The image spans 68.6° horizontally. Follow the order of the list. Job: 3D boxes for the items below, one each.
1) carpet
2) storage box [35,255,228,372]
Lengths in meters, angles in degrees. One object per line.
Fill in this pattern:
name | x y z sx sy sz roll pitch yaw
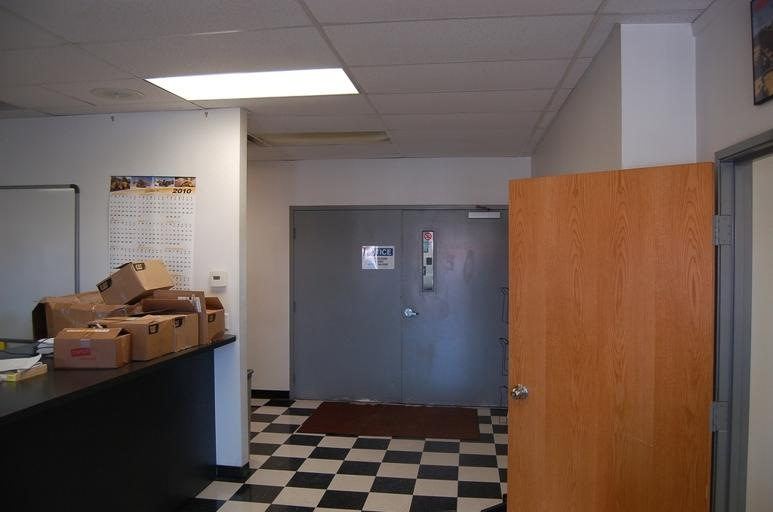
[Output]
carpet | 0.060 1.780 6.134 1.904 0.040 1.210 0 0 11
storage box | -1.970 0.470 4.348 0.956 0.590 0.957 -1 0 24
